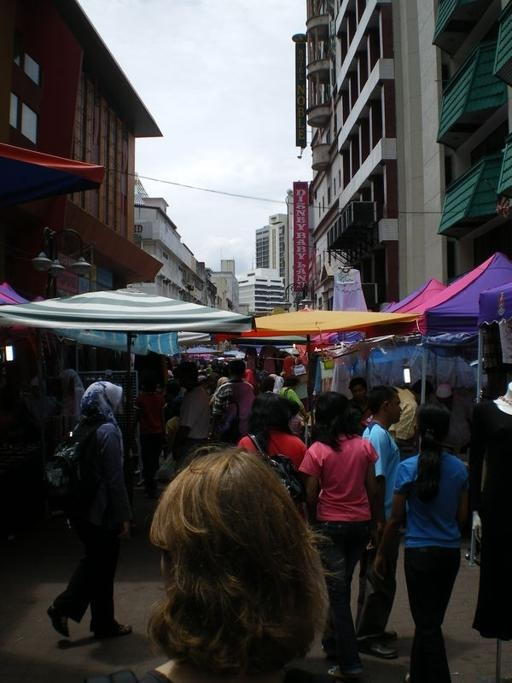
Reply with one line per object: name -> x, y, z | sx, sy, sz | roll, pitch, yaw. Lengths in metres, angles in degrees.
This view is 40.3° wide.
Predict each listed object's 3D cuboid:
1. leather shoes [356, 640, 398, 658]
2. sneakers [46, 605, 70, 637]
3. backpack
leather shoes -> 0.739, 1.870, 4.269 | 0.224, 0.090, 0.083 | -6, -4, 30
sneakers -> -1.267, 1.779, 4.483 | 0.136, 0.253, 0.281 | 1, -3, -14
backpack -> -1.126, 0.787, 4.423 | 0.395, 0.698, 0.455 | 8, -16, -15
